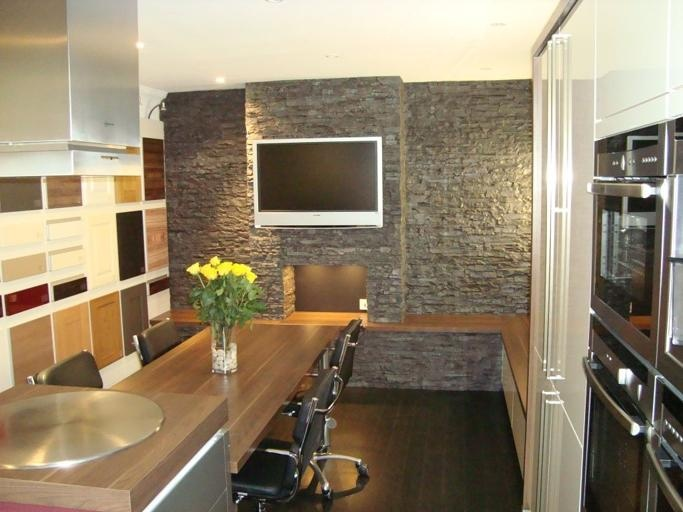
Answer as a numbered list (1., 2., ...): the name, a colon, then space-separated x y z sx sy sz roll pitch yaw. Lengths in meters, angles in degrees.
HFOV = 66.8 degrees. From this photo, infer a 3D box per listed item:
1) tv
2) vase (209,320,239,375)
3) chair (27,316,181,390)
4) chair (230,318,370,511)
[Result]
1. tv: -0.173 -0.725 4.954 0.880 0.596 0.090 1 7 9
2. vase: -0.716 0.563 3.199 0.180 0.300 0.182 6 9 44
3. chair: -1.770 0.704 3.793 0.119 0.176 0.730 20 21 7
4. chair: -0.199 1.134 3.148 0.536 1.124 1.195 2 10 13
